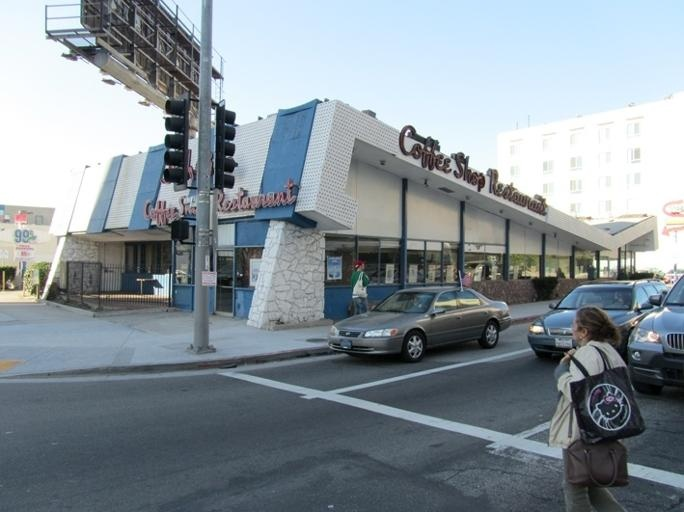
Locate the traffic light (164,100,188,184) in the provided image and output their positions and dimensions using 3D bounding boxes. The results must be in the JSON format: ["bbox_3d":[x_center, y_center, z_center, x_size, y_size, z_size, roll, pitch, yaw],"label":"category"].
[{"bbox_3d":[-3.657,-2.524,12.386,0.579,1.913,0.721,4,-6,-19],"label":"traffic light"}]

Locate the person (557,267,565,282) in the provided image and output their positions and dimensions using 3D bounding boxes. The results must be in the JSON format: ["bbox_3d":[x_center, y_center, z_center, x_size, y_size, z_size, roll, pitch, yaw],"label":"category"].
[{"bbox_3d":[12.388,1.010,31.836,0.764,0.787,0.227,14,-15,-42],"label":"person"}]

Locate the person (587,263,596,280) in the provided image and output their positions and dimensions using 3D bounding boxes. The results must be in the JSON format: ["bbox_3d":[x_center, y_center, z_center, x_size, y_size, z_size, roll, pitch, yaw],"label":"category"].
[{"bbox_3d":[15.311,0.983,34.542,0.395,0.782,0.813,-5,-10,28],"label":"person"}]

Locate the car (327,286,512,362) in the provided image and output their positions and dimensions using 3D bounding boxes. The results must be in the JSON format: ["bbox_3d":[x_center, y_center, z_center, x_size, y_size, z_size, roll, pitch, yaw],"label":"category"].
[{"bbox_3d":[1.904,1.566,13.504,4.429,1.785,1.371,7,-7,-37],"label":"car"}]

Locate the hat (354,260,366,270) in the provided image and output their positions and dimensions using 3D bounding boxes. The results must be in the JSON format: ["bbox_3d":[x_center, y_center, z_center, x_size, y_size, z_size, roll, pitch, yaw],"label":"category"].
[{"bbox_3d":[0.519,0.255,17.486,0.244,0.319,0.302,1,-9,31],"label":"hat"}]

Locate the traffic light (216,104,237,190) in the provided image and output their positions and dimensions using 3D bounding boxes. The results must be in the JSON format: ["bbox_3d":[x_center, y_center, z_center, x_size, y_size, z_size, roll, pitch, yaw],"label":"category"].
[{"bbox_3d":[-2.702,-2.551,12.995,0.521,2.024,0.761,4,-5,-13],"label":"traffic light"}]

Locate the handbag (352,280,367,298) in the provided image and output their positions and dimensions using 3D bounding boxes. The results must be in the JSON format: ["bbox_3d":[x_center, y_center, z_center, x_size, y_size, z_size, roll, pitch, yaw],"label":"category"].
[{"bbox_3d":[0.539,0.966,17.091,0.567,0.739,0.445,0,-1,12],"label":"handbag"}]

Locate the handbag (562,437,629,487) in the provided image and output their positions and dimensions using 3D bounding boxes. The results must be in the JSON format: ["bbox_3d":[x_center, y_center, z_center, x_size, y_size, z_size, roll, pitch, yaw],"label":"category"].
[{"bbox_3d":[2.368,1.909,5.331,0.667,0.545,0.389,-1,-5,3],"label":"handbag"}]
